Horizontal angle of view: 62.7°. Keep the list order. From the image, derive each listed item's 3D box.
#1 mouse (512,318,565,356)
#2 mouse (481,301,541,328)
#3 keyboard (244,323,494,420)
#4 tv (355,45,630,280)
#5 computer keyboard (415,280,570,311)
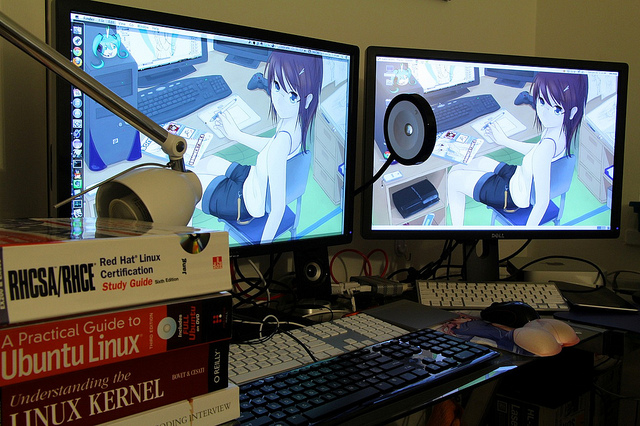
[{"bbox_3d":[0.463,0.252,1.130,0.063,0.030,0.091,-18,28,-18],"label":"mouse"},{"bbox_3d":[0.459,0.221,1.245,0.095,0.035,0.060,16,26,36],"label":"mouse"},{"bbox_3d":[0.099,0.302,1.006,0.523,0.084,0.155,-3,-2,-33],"label":"keyboard"},{"bbox_3d":[0.536,-0.074,1.543,0.813,0.796,0.263,0,5,-12],"label":"tv"},{"bbox_3d":[0.460,0.221,1.438,0.384,0.026,0.180,-1,14,5],"label":"computer keyboard"}]
